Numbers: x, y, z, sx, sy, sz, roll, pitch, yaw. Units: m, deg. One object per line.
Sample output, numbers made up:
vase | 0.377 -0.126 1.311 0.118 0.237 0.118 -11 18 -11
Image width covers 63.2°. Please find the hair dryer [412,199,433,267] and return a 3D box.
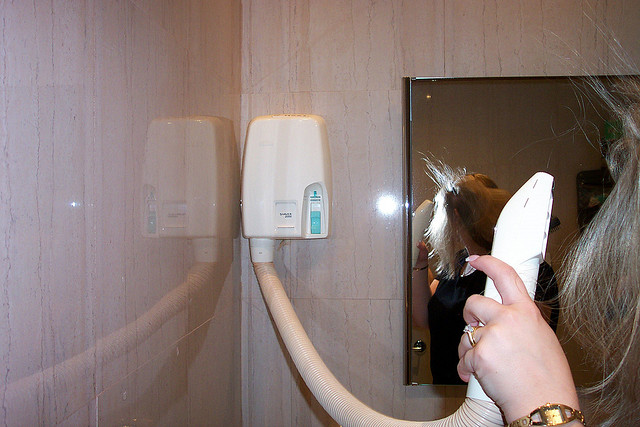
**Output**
hair dryer | 0.356 0.081 1.850 0.070 0.262 0.059 -2 6 -5

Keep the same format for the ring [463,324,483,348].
ring | 0.310 0.251 1.058 0.014 0.039 0.030 5 -9 -5

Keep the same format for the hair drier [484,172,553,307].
hair drier | 0.420 0.085 1.095 0.091 0.078 0.335 11 50 0
